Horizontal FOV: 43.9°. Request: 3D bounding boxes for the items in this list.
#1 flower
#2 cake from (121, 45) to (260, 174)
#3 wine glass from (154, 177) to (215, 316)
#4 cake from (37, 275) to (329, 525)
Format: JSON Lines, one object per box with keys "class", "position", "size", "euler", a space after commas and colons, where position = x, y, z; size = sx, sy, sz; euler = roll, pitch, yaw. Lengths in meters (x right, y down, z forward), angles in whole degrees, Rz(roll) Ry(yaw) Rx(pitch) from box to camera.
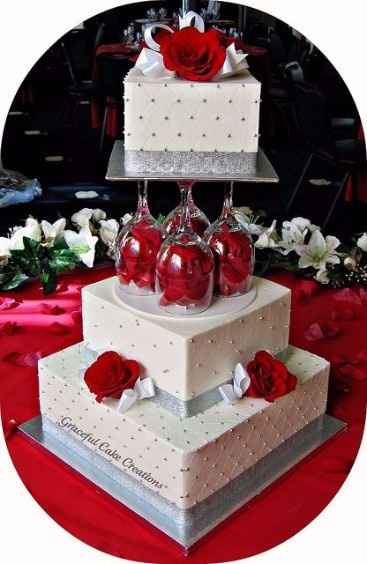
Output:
{"class": "flower", "position": [-0.011, -0.609, 1.227], "size": [0.162, 0.070, 0.179], "euler": [11, -4, -1]}
{"class": "cake", "position": [0.034, -0.501, 1.295], "size": [0.462, 0.215, 0.446], "euler": [-23, 44, -26]}
{"class": "wine glass", "position": [-0.002, -0.099, 1.320], "size": [0.174, 0.374, 0.243], "euler": [0, 15, 2]}
{"class": "cake", "position": [0.005, 0.288, 1.673], "size": [0.915, 0.502, 0.913], "euler": [-10, 20, -32]}
